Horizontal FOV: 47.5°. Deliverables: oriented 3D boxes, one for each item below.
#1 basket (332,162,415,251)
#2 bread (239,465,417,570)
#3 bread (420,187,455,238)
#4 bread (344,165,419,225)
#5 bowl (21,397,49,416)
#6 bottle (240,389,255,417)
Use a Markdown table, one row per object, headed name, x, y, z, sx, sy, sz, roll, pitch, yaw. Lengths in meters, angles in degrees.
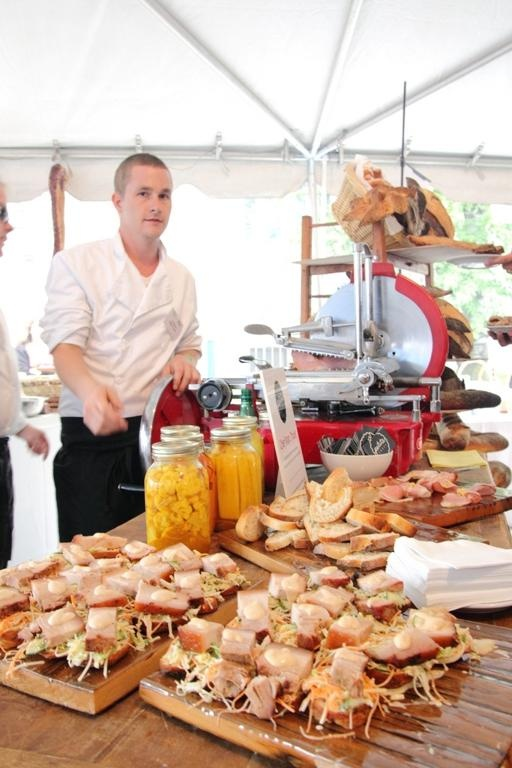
| name | x | y | z | sx | sy | sz | roll | pitch | yaw |
| --- | --- | --- | --- | --- | --- | --- | --- | --- | --- |
| basket | 0.785 | -1.053 | 3.511 | 0.173 | 0.438 | 0.344 | 24 | -12 | -27 |
| bread | 0.129 | 0.243 | 1.052 | 0.217 | 0.055 | 0.159 | 2 | 21 | 12 |
| bread | 1.141 | -1.084 | 3.759 | 0.113 | 0.303 | 0.243 | -19 | -6 | 9 |
| bread | 0.749 | -1.084 | 3.501 | 0.375 | 0.381 | 0.179 | -11 | -33 | 3 |
| bowl | -1.282 | 0.126 | 3.344 | 0.110 | 0.062 | 0.114 | 0 | -2 | 0 |
| bottle | -0.024 | 0.046 | 1.500 | 0.038 | 0.075 | 0.112 | -3 | 3 | 1 |
